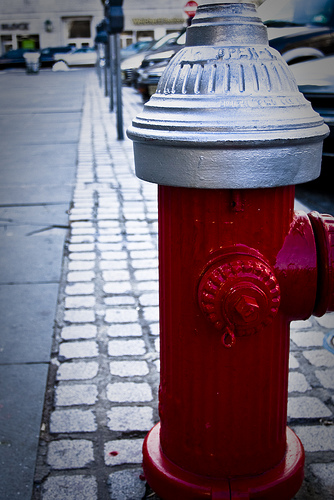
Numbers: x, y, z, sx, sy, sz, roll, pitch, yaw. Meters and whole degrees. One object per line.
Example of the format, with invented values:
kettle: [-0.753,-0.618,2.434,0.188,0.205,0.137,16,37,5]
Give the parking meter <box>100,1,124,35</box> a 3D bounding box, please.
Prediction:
parking meter: [-0.821,-3.688,9.246,0.270,0.501,0.490,-2,22,-2]

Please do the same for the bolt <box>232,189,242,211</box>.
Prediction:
bolt: [0.184,-0.127,1.501,0.025,0.059,0.012,0,23,3]

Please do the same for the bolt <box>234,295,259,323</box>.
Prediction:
bolt: [0.206,0.149,1.492,0.063,0.083,0.046,-7,14,-18]
